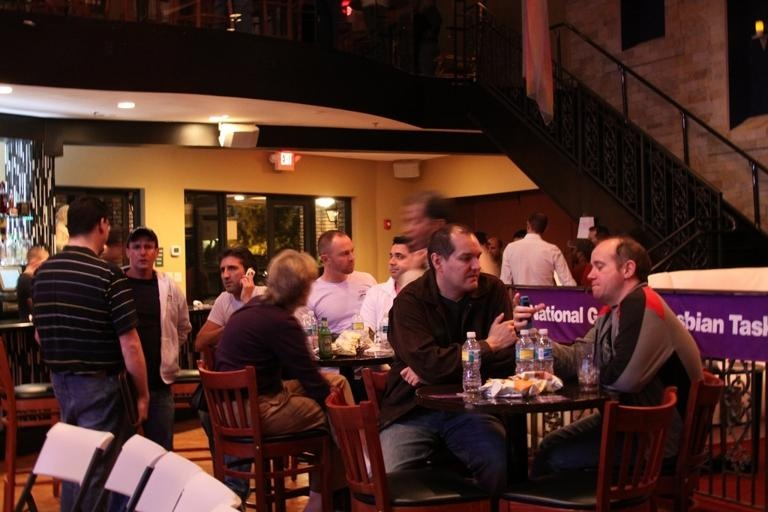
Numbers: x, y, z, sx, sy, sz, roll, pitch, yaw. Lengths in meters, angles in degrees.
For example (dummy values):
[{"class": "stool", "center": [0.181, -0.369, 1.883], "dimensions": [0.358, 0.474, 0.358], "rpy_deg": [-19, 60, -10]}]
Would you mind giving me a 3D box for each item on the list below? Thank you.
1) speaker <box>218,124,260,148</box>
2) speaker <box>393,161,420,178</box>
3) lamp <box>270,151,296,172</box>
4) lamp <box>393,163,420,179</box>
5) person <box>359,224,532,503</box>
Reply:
[{"class": "speaker", "center": [-2.070, -1.718, 10.552], "dimensions": [0.432, 0.285, 0.413], "rpy_deg": [0, 5, -11]}, {"class": "speaker", "center": [0.458, -1.754, 14.923], "dimensions": [0.390, 0.230, 0.387], "rpy_deg": [-1, 3, 13]}, {"class": "lamp", "center": [-1.798, -1.717, 13.191], "dimensions": [0.453, 0.303, 0.268], "rpy_deg": [-1, 3, -18]}, {"class": "lamp", "center": [0.451, -1.712, 14.938], "dimensions": [0.382, 0.229, 0.376], "rpy_deg": [-2, 3, 6]}, {"class": "person", "center": [0.475, 0.952, 5.171], "dimensions": [1.227, 2.208, 1.110], "rpy_deg": [2, 3, 44]}]
